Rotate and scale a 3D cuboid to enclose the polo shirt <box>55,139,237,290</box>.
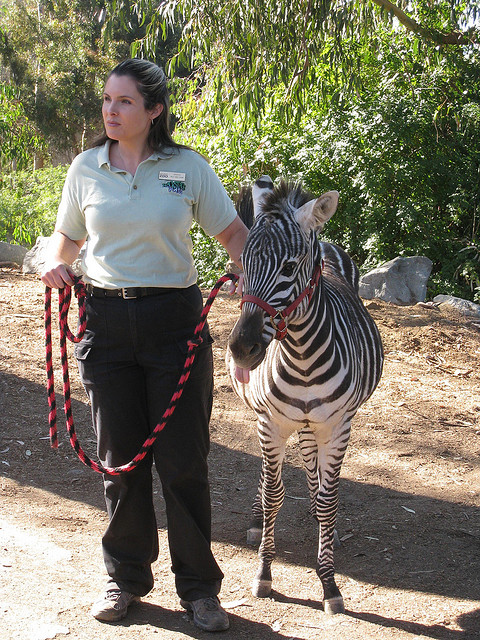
[{"bbox_3d":[-0.358,-0.398,2.415,0.723,0.516,0.352,1,10,8],"label":"polo shirt"}]

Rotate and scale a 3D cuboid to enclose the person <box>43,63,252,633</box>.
[{"bbox_3d":[-0.350,0.116,2.462,0.835,2.064,0.448,5,9,1],"label":"person"}]

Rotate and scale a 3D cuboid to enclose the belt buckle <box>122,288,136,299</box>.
[{"bbox_3d":[-0.394,-0.093,2.297,0.038,0.037,0.004,7,9,18],"label":"belt buckle"}]

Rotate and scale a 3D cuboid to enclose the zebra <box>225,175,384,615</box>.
[{"bbox_3d":[0.272,0.269,2.868,0.633,1.723,1.414,7,9,12],"label":"zebra"}]
